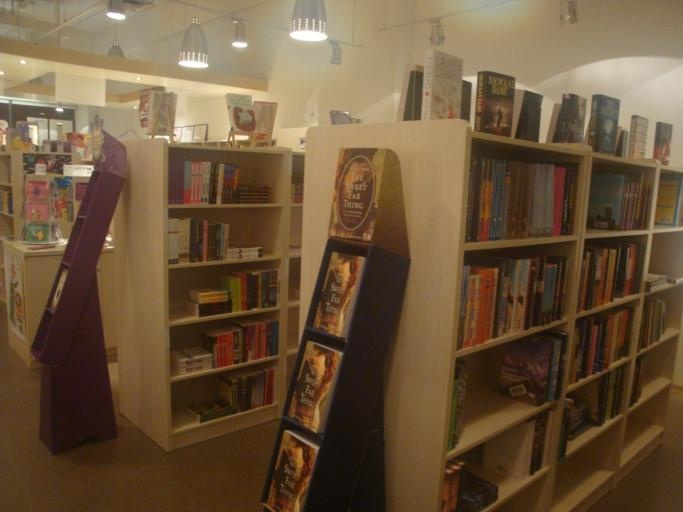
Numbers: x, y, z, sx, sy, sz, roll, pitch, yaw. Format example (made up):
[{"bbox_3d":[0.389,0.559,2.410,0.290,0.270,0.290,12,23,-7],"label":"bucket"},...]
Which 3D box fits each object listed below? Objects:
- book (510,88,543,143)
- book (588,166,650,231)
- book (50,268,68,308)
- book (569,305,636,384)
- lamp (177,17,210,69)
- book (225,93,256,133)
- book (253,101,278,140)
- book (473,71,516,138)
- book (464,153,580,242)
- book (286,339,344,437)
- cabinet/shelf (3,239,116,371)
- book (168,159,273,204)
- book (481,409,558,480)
[{"bbox_3d":[1.171,-0.864,3.438,0.157,0.317,0.417,11,13,41],"label":"book"},{"bbox_3d":[2.029,-0.414,4.095,0.436,0.435,0.245,-4,10,-31],"label":"book"},{"bbox_3d":[-2.274,0.270,4.468,0.126,0.319,0.323,-3,11,-28],"label":"book"},{"bbox_3d":[1.884,0.634,4.051,0.568,0.562,0.310,-5,12,-42],"label":"book"},{"bbox_3d":[-2.186,-3.156,8.176,0.388,0.691,0.494,-1,10,-18],"label":"lamp"},{"bbox_3d":[-0.930,-1.311,5.098,0.110,0.338,0.342,-10,-2,44],"label":"book"},{"bbox_3d":[-0.741,-1.285,5.345,0.206,0.406,0.392,1,10,-9],"label":"book"},{"bbox_3d":[0.923,-0.894,3.278,0.374,0.368,0.147,-5,12,-37],"label":"book"},{"bbox_3d":[1.047,-0.336,3.270,0.535,0.520,0.288,0,5,-29],"label":"book"},{"bbox_3d":[-0.150,0.707,3.008,0.287,0.429,0.145,11,13,42],"label":"book"},{"bbox_3d":[-2.597,0.447,5.150,0.700,1.238,1.276,1,3,-39],"label":"cabinet/shelf"},{"bbox_3d":[-1.025,-0.603,4.651,0.895,0.348,0.070,-5,12,-39],"label":"book"},{"bbox_3d":[1.120,1.194,3.554,0.283,0.533,0.388,7,4,-39],"label":"book"}]
